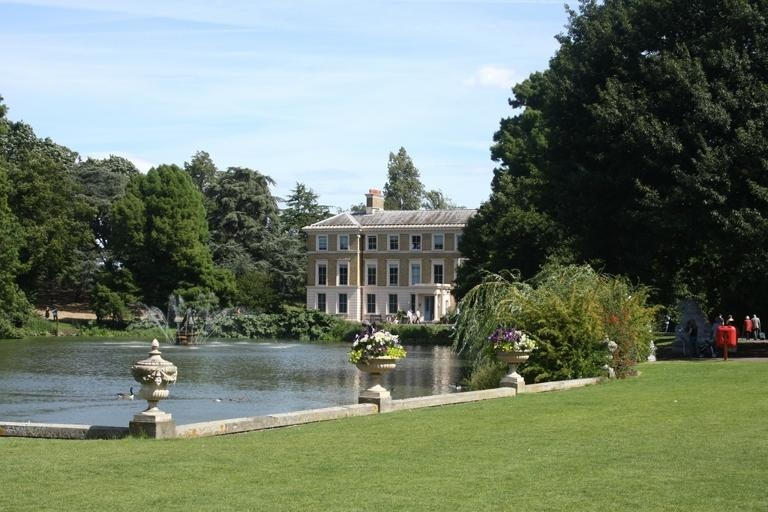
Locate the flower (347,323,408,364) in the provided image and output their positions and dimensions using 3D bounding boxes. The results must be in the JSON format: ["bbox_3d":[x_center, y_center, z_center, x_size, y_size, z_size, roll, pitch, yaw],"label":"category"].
[{"bbox_3d":[-0.282,2.743,32.527,1.278,1.156,1.301,-3,1,-9],"label":"flower"}]

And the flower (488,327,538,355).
[{"bbox_3d":[4.237,2.844,35.747,0.994,0.491,1.007,2,-1,33],"label":"flower"}]

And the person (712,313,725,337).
[{"bbox_3d":[15.995,3.323,51.470,0.540,1.572,0.544,-3,6,-23],"label":"person"}]

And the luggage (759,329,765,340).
[{"bbox_3d":[21.869,4.551,62.247,0.324,0.435,0.615,-2,0,8],"label":"luggage"}]

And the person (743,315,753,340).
[{"bbox_3d":[21.047,4.088,62.314,0.519,1.411,3.682,-4,-6,19],"label":"person"}]
